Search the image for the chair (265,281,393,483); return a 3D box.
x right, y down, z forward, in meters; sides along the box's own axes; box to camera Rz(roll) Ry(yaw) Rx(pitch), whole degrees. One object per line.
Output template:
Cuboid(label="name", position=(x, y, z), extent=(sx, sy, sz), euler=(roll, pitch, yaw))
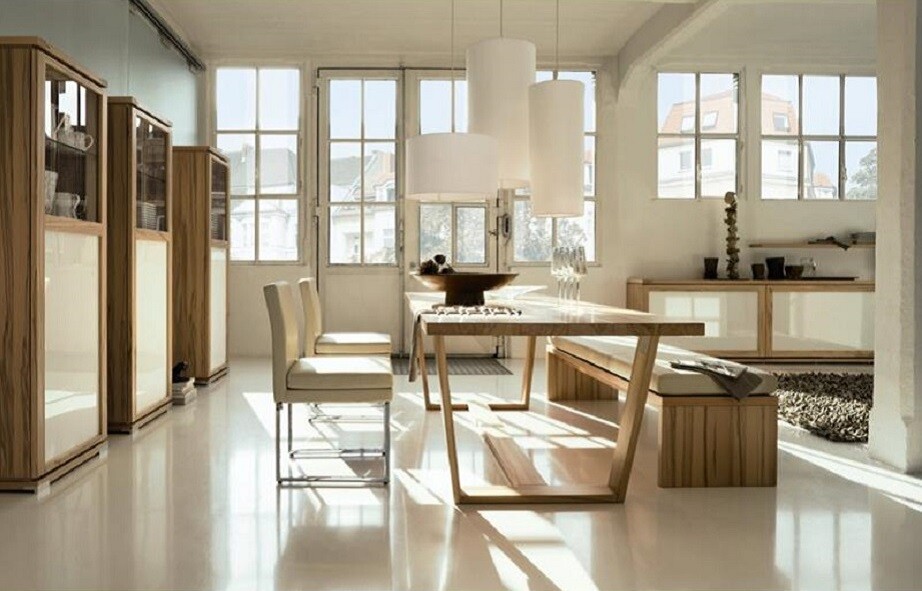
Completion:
Cuboid(label="chair", position=(-0.875, 0.582, 5.089), extent=(0.972, 1.316, 0.909), euler=(-1, 5, -21))

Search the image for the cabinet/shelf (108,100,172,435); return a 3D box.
Cuboid(label="cabinet/shelf", position=(-2.557, -0.256, 5.802), extent=(0.260, 2.559, 0.764), euler=(-2, 4, 9))

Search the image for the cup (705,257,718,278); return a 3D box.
Cuboid(label="cup", position=(2.930, -0.323, 8.400), extent=(0.151, 0.242, 0.407), euler=(-1, 5, 20))

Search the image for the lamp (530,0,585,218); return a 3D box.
Cuboid(label="lamp", position=(0.710, -1.074, 5.295), extent=(0.400, 0.971, 0.210), euler=(-2, 4, 6))

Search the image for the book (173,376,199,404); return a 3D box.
Cuboid(label="book", position=(-2.439, 0.850, 6.404), extent=(0.166, 0.133, 0.287), euler=(-1, 4, -3))

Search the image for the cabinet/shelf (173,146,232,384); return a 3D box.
Cuboid(label="cabinet/shelf", position=(-2.506, -0.311, 7.020), extent=(0.376, 2.309, 0.764), euler=(-1, 4, 15))

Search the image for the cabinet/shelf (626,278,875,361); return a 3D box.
Cuboid(label="cabinet/shelf", position=(3.357, 0.289, 8.285), extent=(2.686, 0.862, 0.633), euler=(0, 5, -6))
